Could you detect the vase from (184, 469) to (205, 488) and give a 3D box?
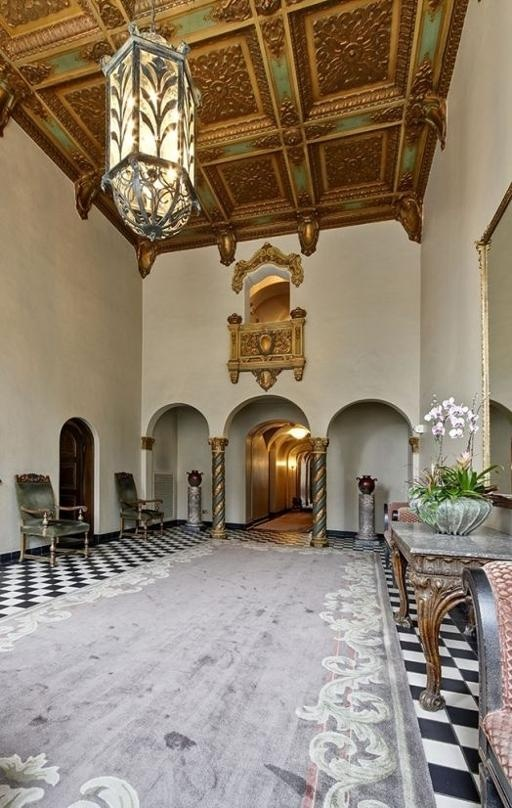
[{"bbox_3d":[-1.497,1.834,12.849,0.334,0.440,0.424,-7,-8,24],"label":"vase"}]

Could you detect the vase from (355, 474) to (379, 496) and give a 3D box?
[{"bbox_3d":[2.353,1.764,11.172,0.458,0.432,0.364,-1,-15,2],"label":"vase"}]

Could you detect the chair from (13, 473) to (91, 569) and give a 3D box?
[{"bbox_3d":[-2.973,1.660,7.661,0.968,1.332,1.002,0,-8,-19],"label":"chair"}]

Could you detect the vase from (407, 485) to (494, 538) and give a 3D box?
[{"bbox_3d":[1.413,0.764,3.760,0.356,0.215,0.378,-3,-3,28],"label":"vase"}]

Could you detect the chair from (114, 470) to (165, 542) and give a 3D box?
[{"bbox_3d":[-2.356,2.075,10.633,0.969,1.290,1.003,1,-7,-17],"label":"chair"}]

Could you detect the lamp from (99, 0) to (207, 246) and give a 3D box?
[{"bbox_3d":[-0.762,-2.099,3.817,0.731,1.618,0.573,3,-7,-17],"label":"lamp"}]
